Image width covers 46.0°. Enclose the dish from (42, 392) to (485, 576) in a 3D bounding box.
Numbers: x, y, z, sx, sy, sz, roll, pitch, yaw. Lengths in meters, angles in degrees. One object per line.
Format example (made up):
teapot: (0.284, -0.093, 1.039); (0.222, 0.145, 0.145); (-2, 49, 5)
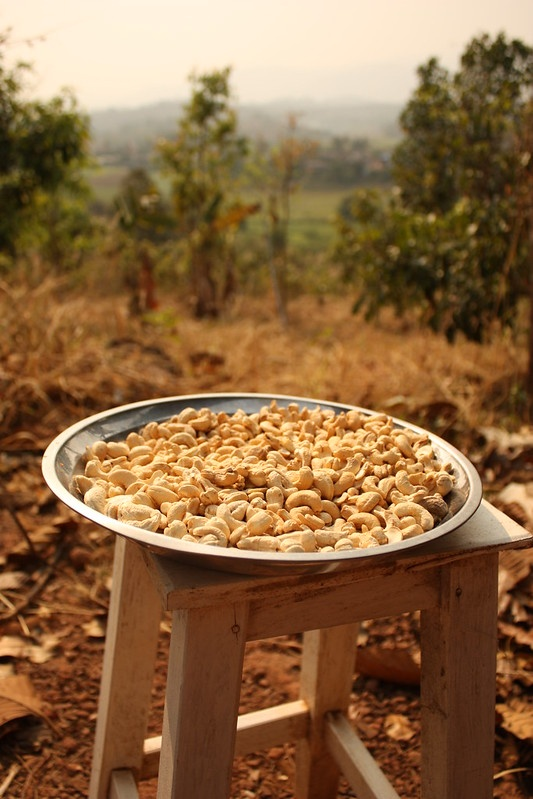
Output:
dish: (-0.024, 0.072, 0.844); (0.516, 0.051, 0.679); (-1, 14, -19)
